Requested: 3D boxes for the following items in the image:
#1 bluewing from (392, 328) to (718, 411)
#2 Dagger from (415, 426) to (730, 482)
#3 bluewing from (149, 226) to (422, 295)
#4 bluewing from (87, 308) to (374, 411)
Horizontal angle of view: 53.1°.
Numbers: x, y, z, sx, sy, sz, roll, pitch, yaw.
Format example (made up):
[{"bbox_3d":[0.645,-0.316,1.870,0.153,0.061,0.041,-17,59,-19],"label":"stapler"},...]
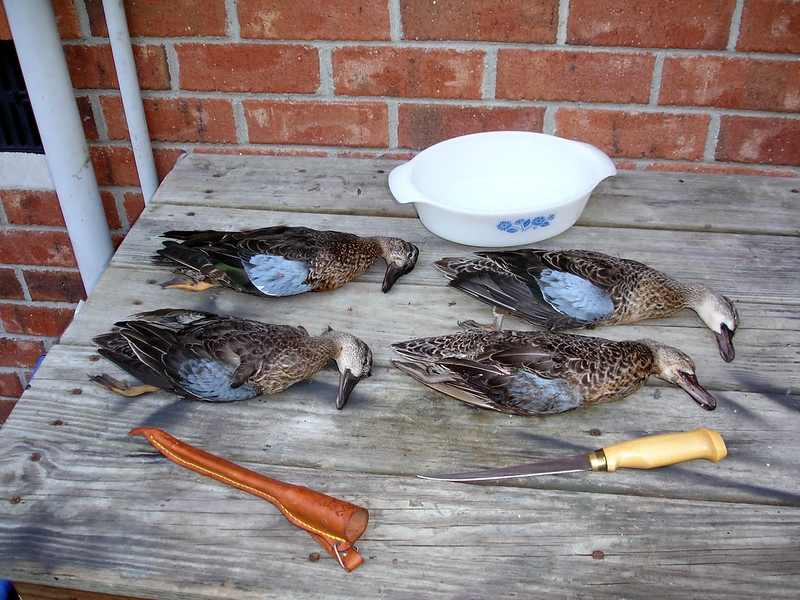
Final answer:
[{"bbox_3d":[0.368,0.221,2.344,1.019,0.283,0.215,4,62,-3],"label":"bluewing"},{"bbox_3d":[0.449,0.413,2.080,0.794,0.115,0.077,-2,41,-6],"label":"Dagger"},{"bbox_3d":[-0.373,-0.138,2.599,0.886,0.145,0.221,4,29,1],"label":"bluewing"},{"bbox_3d":[-0.461,0.179,2.324,0.905,0.231,0.245,9,34,-13],"label":"bluewing"}]
